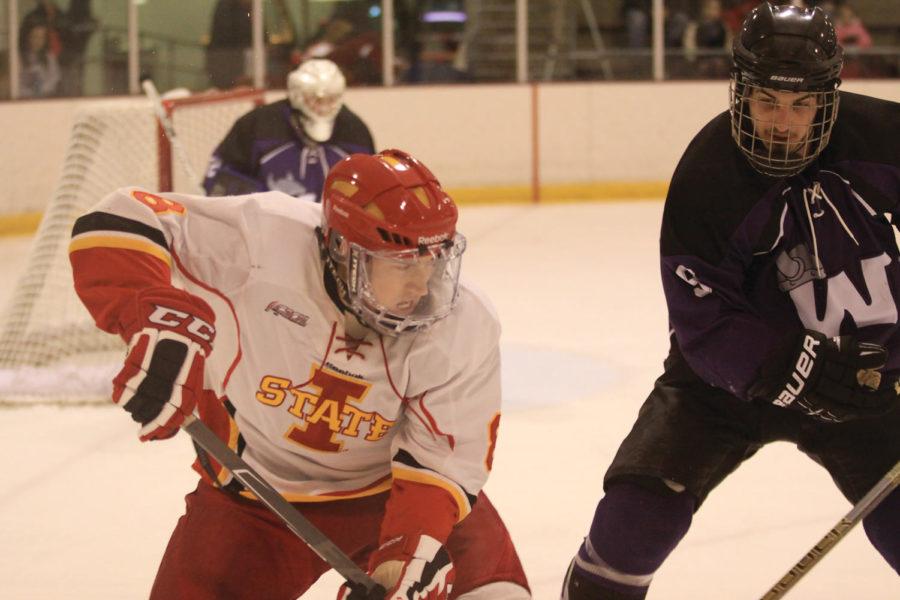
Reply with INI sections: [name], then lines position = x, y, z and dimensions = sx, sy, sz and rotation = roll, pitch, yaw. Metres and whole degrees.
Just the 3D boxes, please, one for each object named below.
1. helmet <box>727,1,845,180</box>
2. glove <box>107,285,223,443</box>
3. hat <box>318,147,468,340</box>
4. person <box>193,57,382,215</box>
[helmet]
position = 0.905, -0.608, 3.198
dimensions = 0.332, 0.459, 0.455
rotation = 1, 43, 12
[glove]
position = -0.783, 0.186, 3.057
dimensions = 0.278, 0.413, 0.141
rotation = 20, -18, -22
[hat]
position = -0.166, -0.188, 3.249
dimensions = 0.381, 0.472, 0.486
rotation = -12, 34, -34
[person]
position = -0.808, -0.676, 6.022
dimensions = 0.999, 1.070, 0.550
rotation = 11, -18, -22
